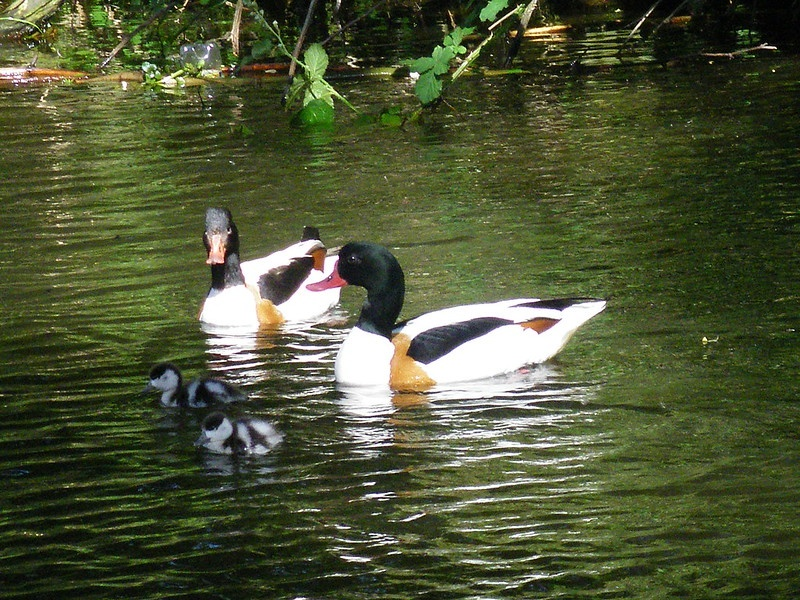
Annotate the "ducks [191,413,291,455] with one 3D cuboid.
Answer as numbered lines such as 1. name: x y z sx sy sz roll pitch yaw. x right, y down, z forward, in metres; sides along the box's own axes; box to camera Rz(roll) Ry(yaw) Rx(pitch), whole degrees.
1. "ducks: -1.282 1.038 9.052 0.700 0.340 0.196 -3 11 1

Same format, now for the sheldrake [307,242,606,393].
1. sheldrake: 0.463 0.086 10.421 3.213 1.336 1.040 -6 17 -36

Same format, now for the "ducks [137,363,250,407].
1. "ducks: -1.746 0.709 9.732 0.850 0.396 0.195 -3 11 -2
